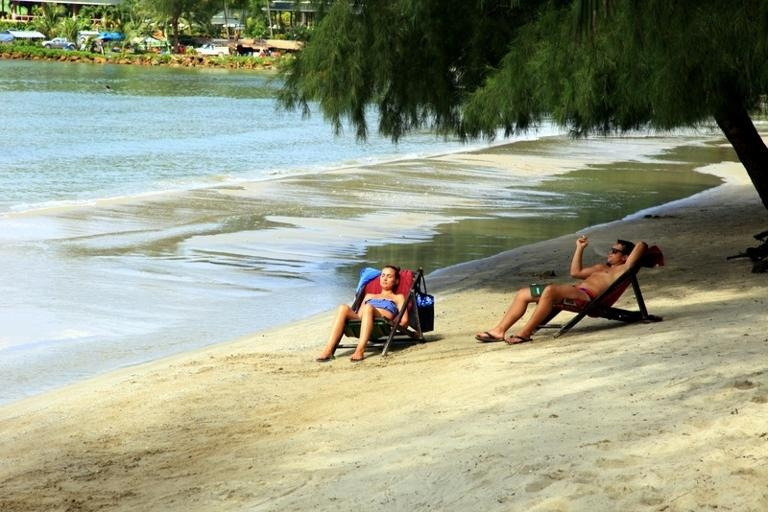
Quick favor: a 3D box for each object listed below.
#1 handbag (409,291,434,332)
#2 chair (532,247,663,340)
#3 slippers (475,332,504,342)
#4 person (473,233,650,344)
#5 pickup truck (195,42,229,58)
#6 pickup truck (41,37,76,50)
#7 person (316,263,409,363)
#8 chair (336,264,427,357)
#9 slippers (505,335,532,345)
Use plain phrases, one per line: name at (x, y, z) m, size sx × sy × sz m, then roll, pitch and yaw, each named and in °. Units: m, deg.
handbag at (0.434, 0.663, 10.885) m, size 0.249 × 0.572 × 0.344 m, roll 5°, pitch 16°, yaw 21°
chair at (2.452, 0.368, 10.351) m, size 1.449 × 0.620 × 0.653 m, roll -9°, pitch 10°, yaw 3°
slippers at (1.178, 0.911, 10.308) m, size 0.146 × 0.065 × 0.259 m, roll -2°, pitch -2°, yaw 34°
person at (2.040, 0.350, 10.409) m, size 2.087 × 0.934 × 0.813 m, roll -9°, pitch 6°, yaw -10°
pickup truck at (-18.714, -22.421, 99.709) m, size 3.471 × 1.371 × 4.707 m, roll -4°, pitch 12°, yaw -19°
pickup truck at (-34.258, -22.492, 96.508) m, size 3.247 × 1.252 × 2.397 m, roll -4°, pitch 12°, yaw -17°
person at (-0.267, 0.664, 10.719) m, size 0.771 × 0.751 × 1.406 m, roll 8°, pitch 18°, yaw 27°
chair at (-0.020, 0.626, 10.936) m, size 1.253 × 0.678 × 1.077 m, roll 1°, pitch 15°, yaw 11°
slippers at (1.474, 0.928, 10.147) m, size 0.262 × 0.046 × 0.109 m, roll 1°, pitch 7°, yaw 1°
